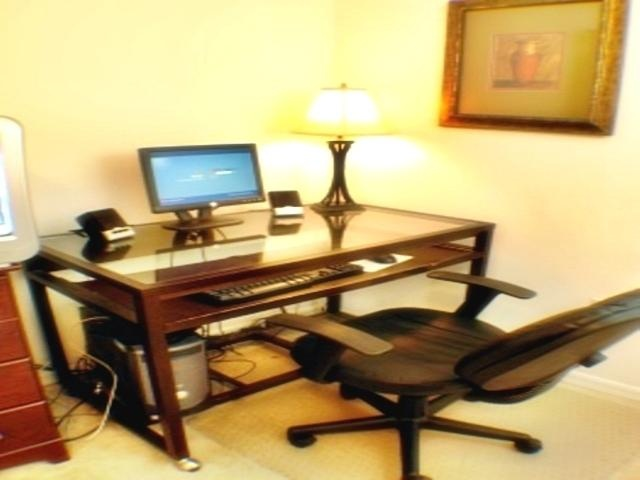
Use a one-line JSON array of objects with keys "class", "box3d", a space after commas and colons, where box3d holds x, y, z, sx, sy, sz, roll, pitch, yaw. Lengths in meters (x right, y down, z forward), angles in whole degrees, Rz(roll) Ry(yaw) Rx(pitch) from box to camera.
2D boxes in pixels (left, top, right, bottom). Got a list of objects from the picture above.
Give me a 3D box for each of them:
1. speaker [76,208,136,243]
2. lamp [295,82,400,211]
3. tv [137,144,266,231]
[{"class": "speaker", "box3d": [-0.895, -0.064, 2.229, 0.233, 0.061, 0.150, 25, 28, 18]}, {"class": "lamp", "box3d": [0.083, -0.474, 2.734, 0.428, 0.652, 0.385, -9, 27, -14]}, {"class": "tv", "box3d": [-0.582, -0.265, 2.500, 0.206, 0.346, 0.695, 16, 19, 31]}]
